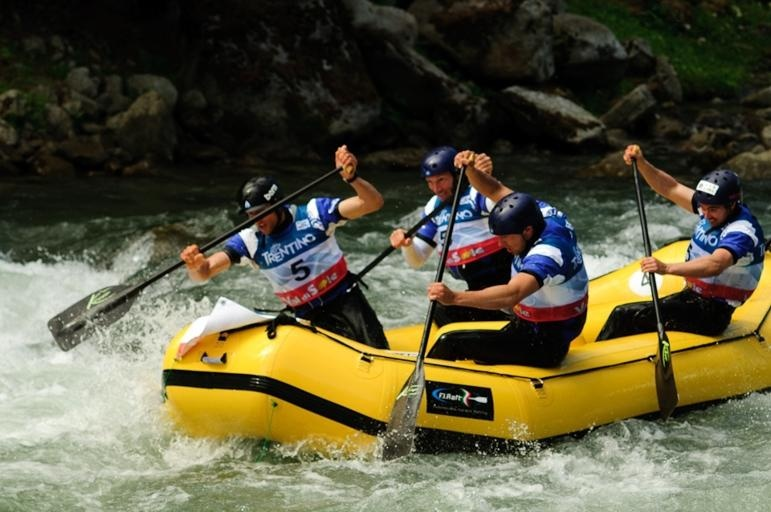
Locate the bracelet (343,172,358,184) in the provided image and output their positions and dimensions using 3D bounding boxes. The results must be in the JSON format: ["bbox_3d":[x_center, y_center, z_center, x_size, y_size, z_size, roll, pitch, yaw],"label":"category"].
[{"bbox_3d":[-0.382,-0.914,10.823,0.122,0.148,0.319,-2,10,-6],"label":"bracelet"}]

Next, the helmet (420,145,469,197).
[{"bbox_3d":[0.549,-1.098,11.142,0.598,0.570,0.459,-5,-4,-14],"label":"helmet"}]

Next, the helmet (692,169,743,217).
[{"bbox_3d":[3.920,-0.764,10.844,0.627,0.512,0.459,-18,23,-26],"label":"helmet"}]
